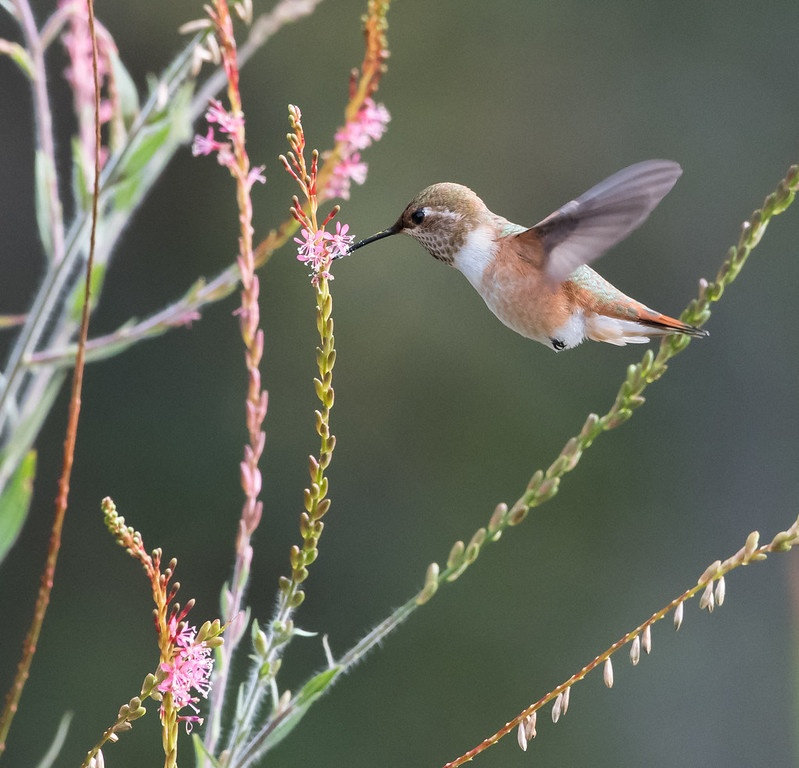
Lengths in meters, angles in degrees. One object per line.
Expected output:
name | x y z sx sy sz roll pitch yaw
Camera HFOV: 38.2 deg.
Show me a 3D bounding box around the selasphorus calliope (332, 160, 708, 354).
selasphorus calliope | 0.122 -0.111 1.104 0.318 0.196 0.369 -4 13 2
